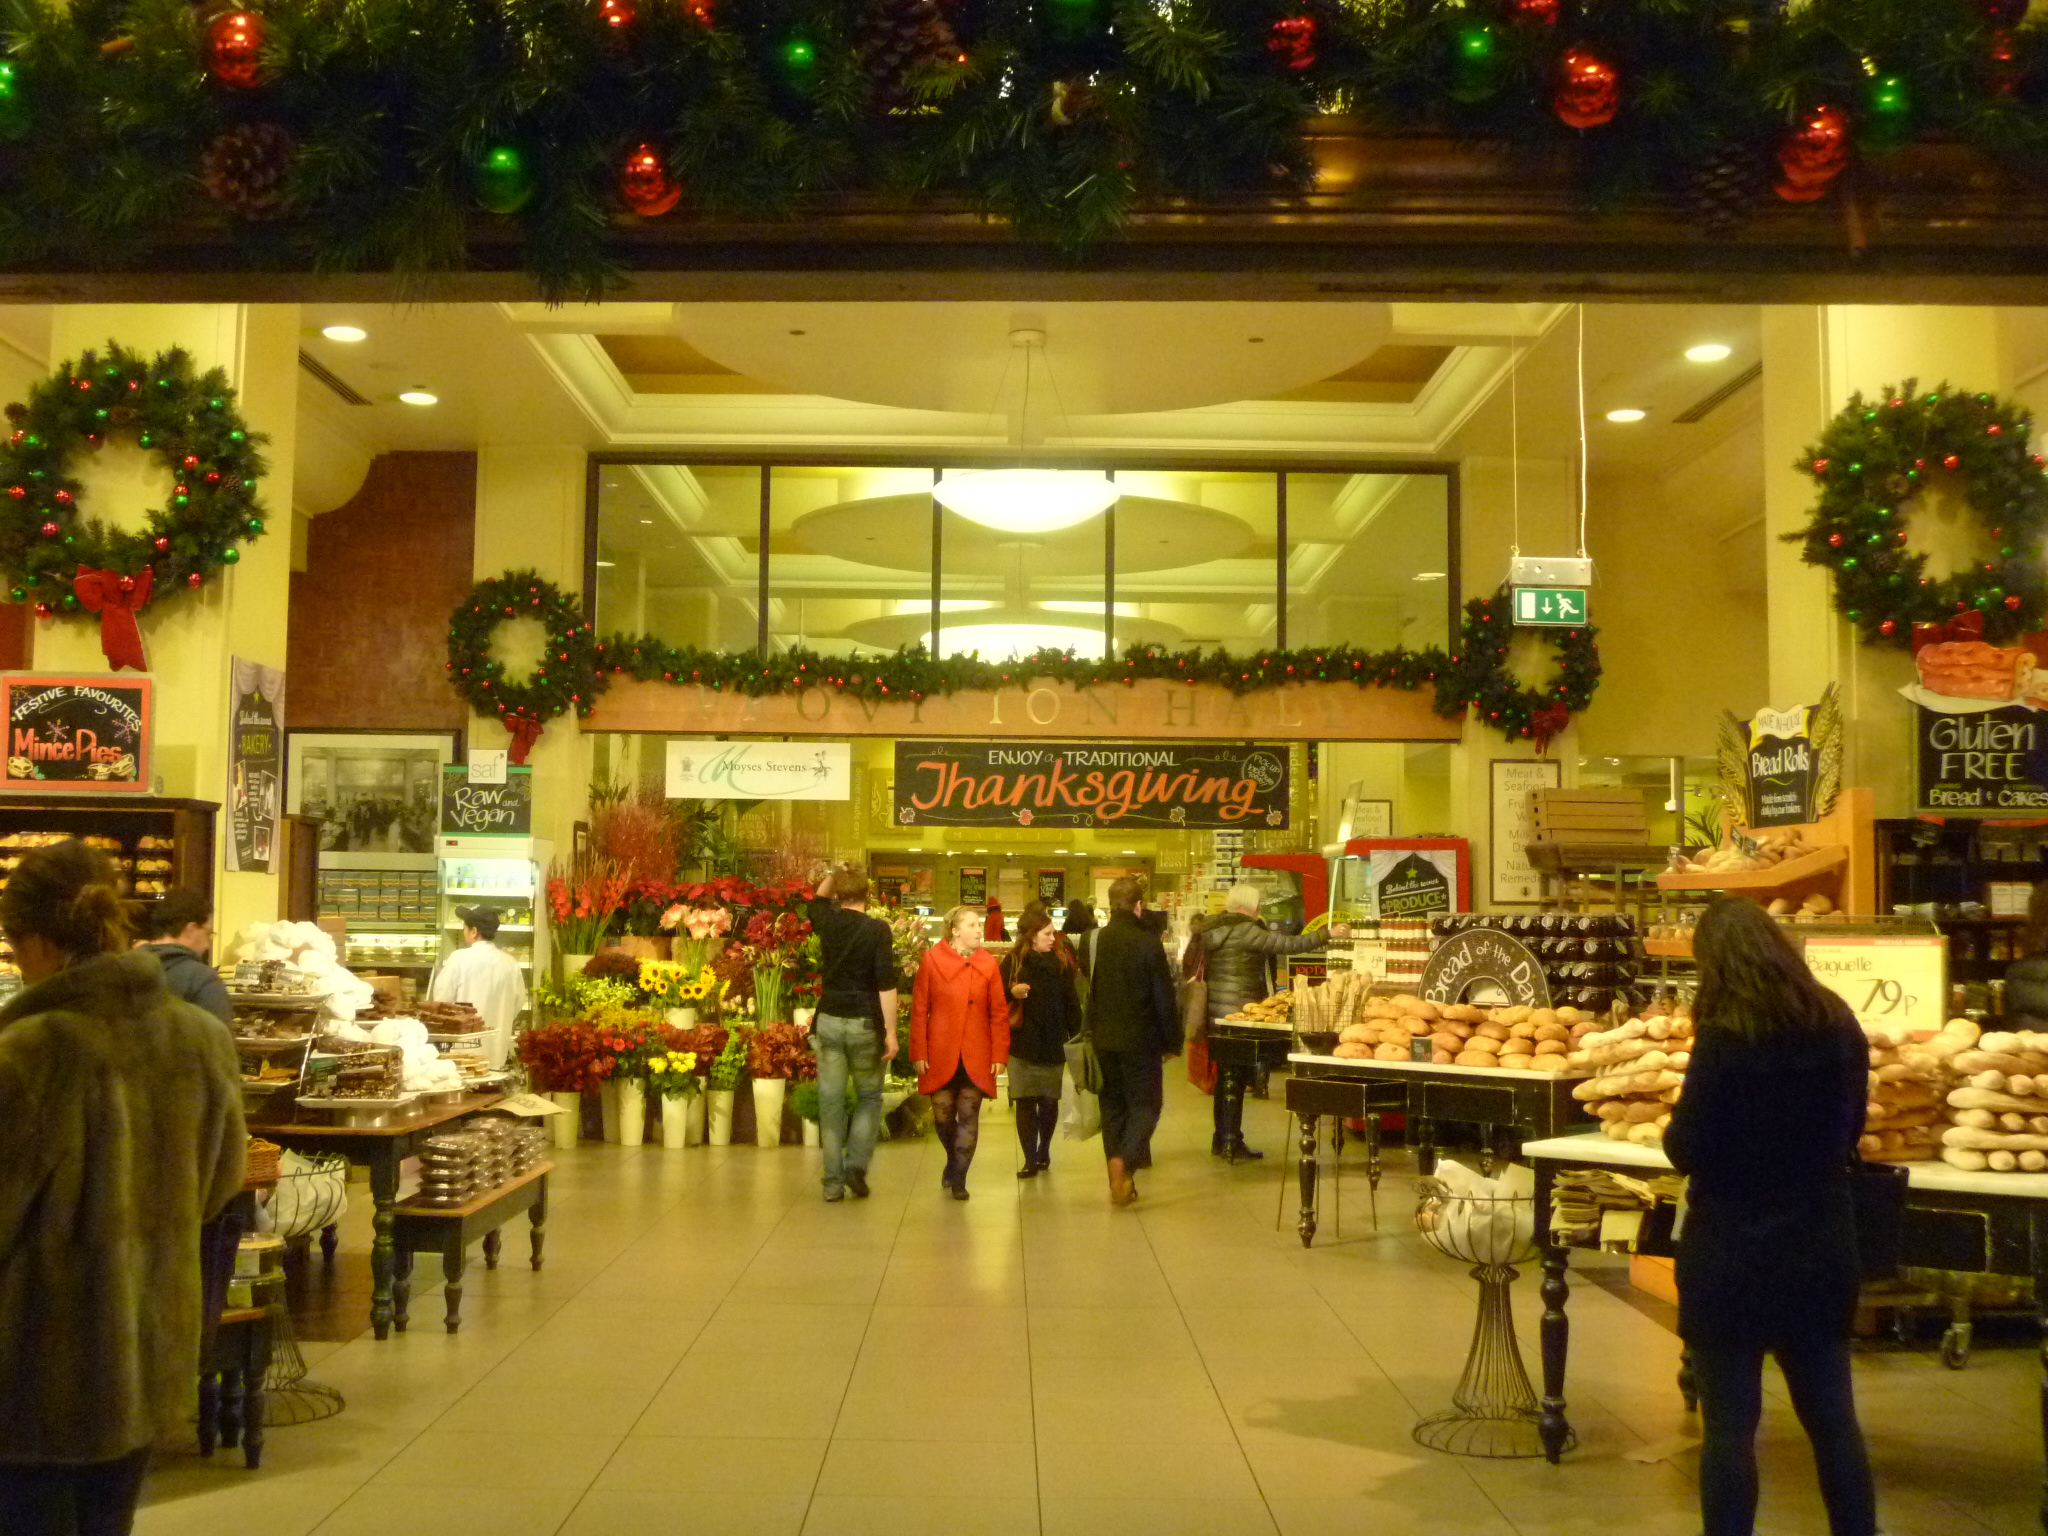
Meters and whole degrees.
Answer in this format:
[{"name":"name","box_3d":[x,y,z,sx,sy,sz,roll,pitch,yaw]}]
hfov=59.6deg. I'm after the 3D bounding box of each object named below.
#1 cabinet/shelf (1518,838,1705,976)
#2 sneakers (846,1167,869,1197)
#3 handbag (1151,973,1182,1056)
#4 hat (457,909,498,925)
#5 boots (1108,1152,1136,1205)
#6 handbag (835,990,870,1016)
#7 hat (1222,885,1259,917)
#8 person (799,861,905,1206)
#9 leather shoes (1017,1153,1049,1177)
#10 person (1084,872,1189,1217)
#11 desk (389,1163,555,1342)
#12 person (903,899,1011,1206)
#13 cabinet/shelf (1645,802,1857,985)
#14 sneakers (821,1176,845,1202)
[{"name":"cabinet/shelf","box_3d":[3.707,0.751,11.236,0.919,0.590,1.309,0,-2,4]},{"name":"sneakers","box_3d":[-0.894,2.295,9.790,0.103,0.167,0.167,0,-19,0]},{"name":"handbag","box_3d":[0.792,1.346,9.945,0.147,0.510,0.417,0,-3,7]},{"name":"hat","box_3d":[-3.180,0.874,10.525,0.166,0.083,0.207,3,-8,-11]},{"name":"boots","box_3d":[0.510,2.209,9.501,0.105,0.311,0.124,-7,-3,16]},{"name":"handbag","box_3d":[-0.955,1.309,9.911,0.147,0.102,0.146,-1,-4,6]},{"name":"hat","box_3d":[1.424,0.905,11.913,0.201,0.243,0.253,6,8,14]},{"name":"person","box_3d":[-0.948,1.453,9.894,0.471,1.775,0.629,1,-3,-7]},{"name":"leather shoes","box_3d":[0.054,2.386,10.664,0.094,0.158,0.226,-9,-18,36]},{"name":"person","box_3d":[0.606,1.496,9.943,0.500,1.762,0.978,0,-3,1]},{"name":"desk","box_3d":[-2.224,1.966,7.192,0.223,0.297,0.792,1,-3,5]},{"name":"person","box_3d":[-0.354,1.602,10.171,0.566,1.575,0.985,0,-3,-1]},{"name":"cabinet/shelf","box_3d":[3.246,0.543,7.935,0.594,0.837,1.127,3,-6,-8]},{"name":"sneakers","box_3d":[-1.021,2.272,9.591,0.108,0.104,0.120,2,-10,-2]}]
